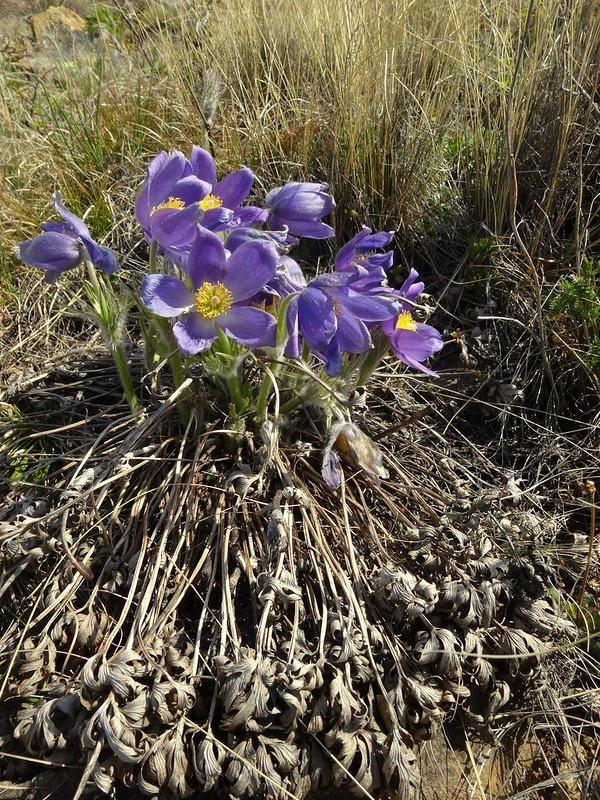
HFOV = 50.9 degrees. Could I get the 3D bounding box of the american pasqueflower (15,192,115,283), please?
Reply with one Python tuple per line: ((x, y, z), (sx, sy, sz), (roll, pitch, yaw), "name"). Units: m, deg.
((-0.524, -0.335, 1.395), (0.226, 0.189, 0.140), (32, 50, 29), "american pasqueflower")
